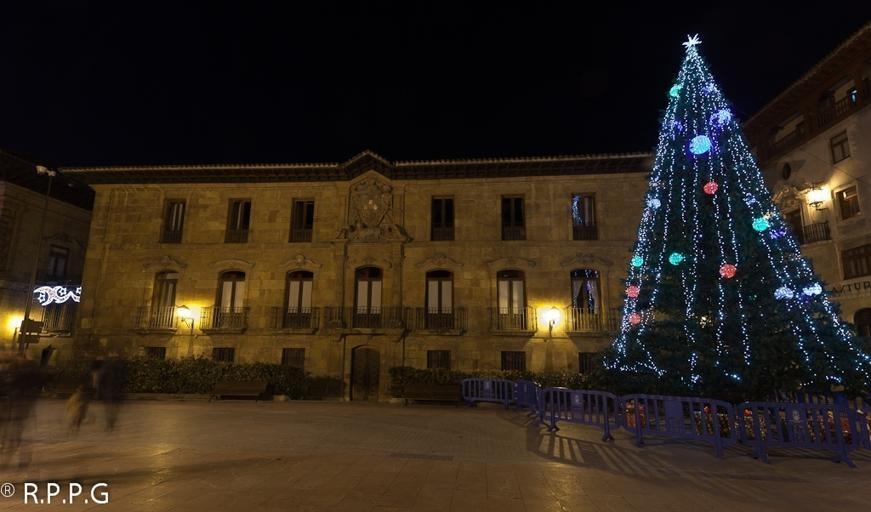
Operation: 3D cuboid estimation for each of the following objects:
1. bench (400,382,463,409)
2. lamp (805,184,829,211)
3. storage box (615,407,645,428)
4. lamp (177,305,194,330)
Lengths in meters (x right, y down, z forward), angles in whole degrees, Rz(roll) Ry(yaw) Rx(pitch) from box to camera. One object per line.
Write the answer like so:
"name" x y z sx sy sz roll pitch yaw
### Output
"bench" -0.194 6.839 26.958 3.804 0.998 1.383 -1 3 12
"lamp" 21.845 -3.317 31.808 1.039 1.350 0.630 3 4 27
"storage box" 6.784 5.601 19.322 1.083 0.874 0.535 1 -1 -7
"lamp" -13.469 3.330 30.188 0.836 1.352 0.367 0 4 -23
